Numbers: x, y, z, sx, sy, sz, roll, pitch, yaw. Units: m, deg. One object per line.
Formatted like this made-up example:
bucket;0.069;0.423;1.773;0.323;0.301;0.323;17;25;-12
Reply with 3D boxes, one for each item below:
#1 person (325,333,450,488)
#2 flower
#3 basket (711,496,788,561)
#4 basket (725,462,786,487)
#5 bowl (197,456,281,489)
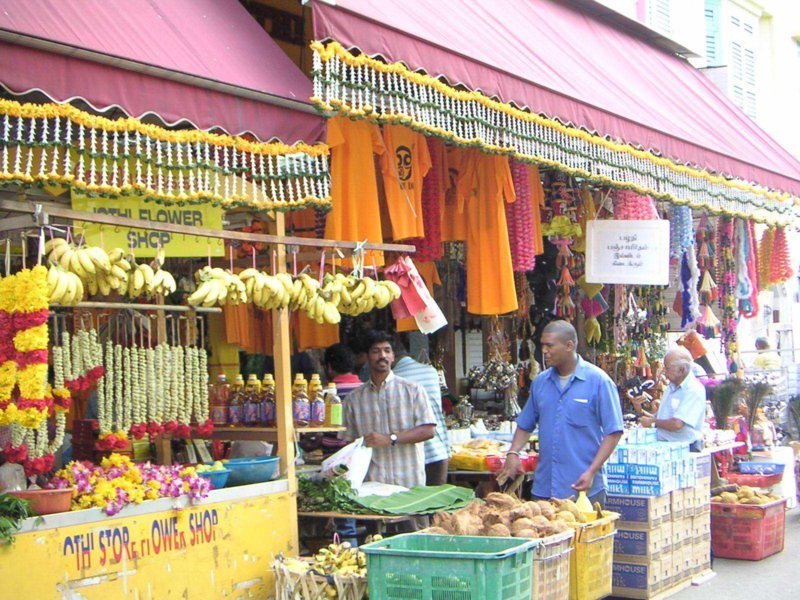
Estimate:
person;-0.095;0.878;7.181;0.637;1.184;0.653;6;5;43
flower;-1.528;1.040;5.567;0.903;0.320;0.350;-3;-4;-24
basket;3.457;2.226;9.503;0.689;0.601;0.636;1;-4;-40
basket;3.841;1.908;10.565;0.488;0.198;0.354;-10;6;-41
bowl;-1.013;1.090;6.176;0.397;0.213;0.400;1;4;0
